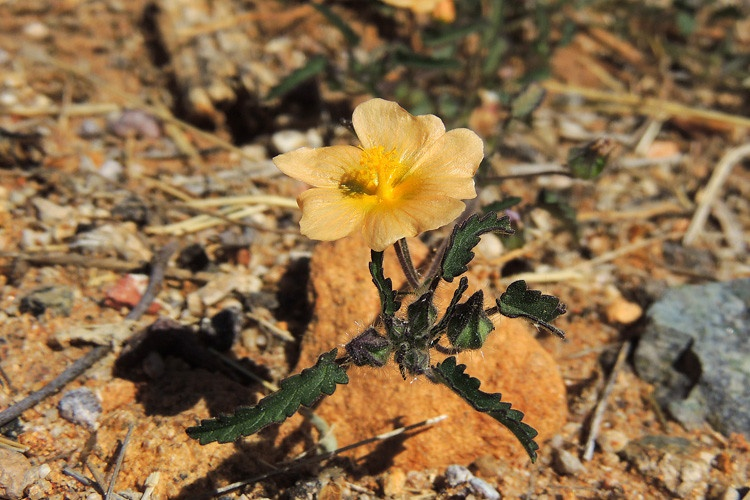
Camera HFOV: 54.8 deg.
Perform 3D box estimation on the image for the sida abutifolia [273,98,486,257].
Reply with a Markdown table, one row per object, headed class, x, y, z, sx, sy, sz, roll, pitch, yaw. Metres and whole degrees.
| class | x | y | z | sx | sy | sz | roll | pitch | yaw |
| --- | --- | --- | --- | --- | --- | --- | --- | --- | --- |
| sida abutifolia | 0.040 | -0.435 | 4.194 | 1.112 | 0.443 | 0.937 | -14 | 63 | -17 |
